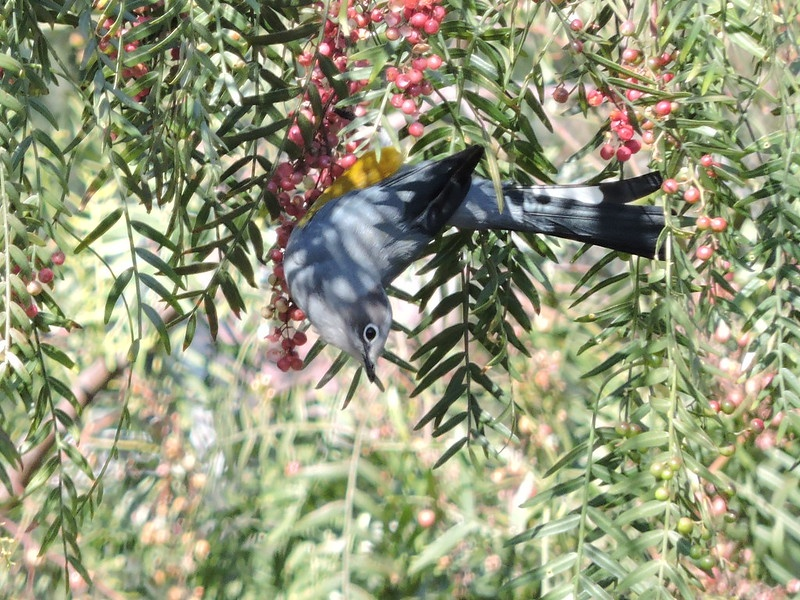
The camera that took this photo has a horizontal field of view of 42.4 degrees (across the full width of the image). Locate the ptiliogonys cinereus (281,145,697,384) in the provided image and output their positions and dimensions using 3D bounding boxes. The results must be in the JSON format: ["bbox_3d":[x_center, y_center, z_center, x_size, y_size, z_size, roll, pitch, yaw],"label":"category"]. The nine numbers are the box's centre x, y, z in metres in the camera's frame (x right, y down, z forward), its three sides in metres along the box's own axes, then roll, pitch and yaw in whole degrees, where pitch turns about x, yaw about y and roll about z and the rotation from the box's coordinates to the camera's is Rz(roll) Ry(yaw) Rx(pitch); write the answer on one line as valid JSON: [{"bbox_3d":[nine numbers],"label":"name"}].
[{"bbox_3d":[0.341,-0.210,3.353,1.430,0.615,0.810,-1,27,9],"label":"ptiliogonys cinereus"}]
